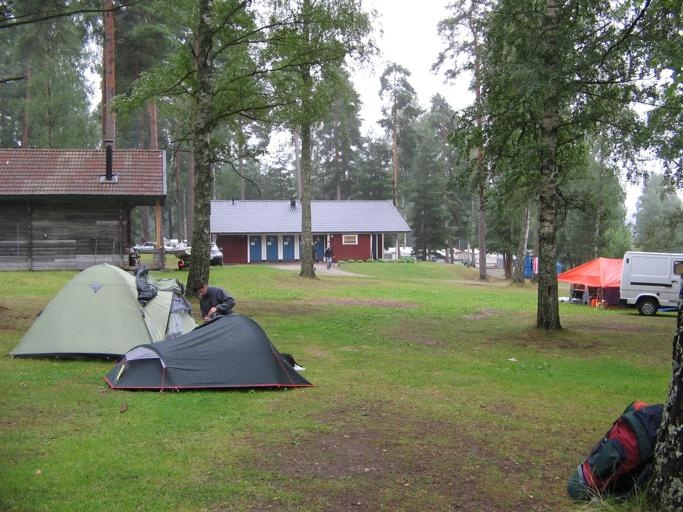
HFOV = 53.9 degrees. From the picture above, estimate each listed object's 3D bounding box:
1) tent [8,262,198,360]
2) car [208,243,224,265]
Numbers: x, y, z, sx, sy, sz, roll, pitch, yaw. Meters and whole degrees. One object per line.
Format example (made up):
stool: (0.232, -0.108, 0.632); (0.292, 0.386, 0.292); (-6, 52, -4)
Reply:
tent: (-5.765, 1.481, 16.473); (2.708, 1.320, 2.734); (-1, 0, 0)
car: (-8.178, 0.009, 43.778); (0.956, 0.928, 1.805); (0, -5, -6)
